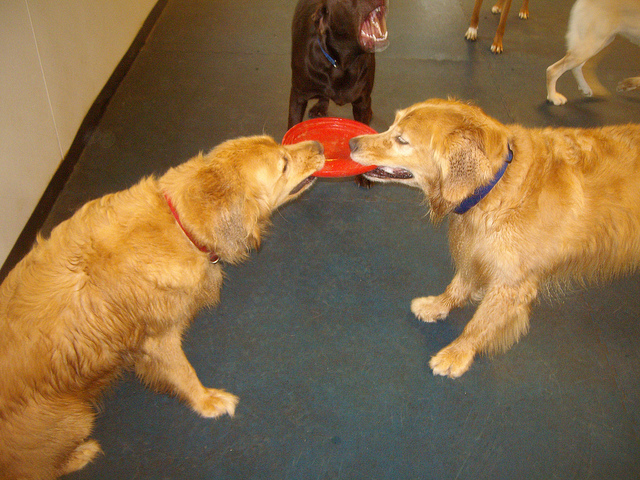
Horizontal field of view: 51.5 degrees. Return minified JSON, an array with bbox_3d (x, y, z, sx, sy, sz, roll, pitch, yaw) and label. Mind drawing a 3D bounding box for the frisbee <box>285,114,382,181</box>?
[{"bbox_3d":[0.114,-0.873,6.055,0.600,0.072,0.704,10,56,1],"label":"frisbee"}]
